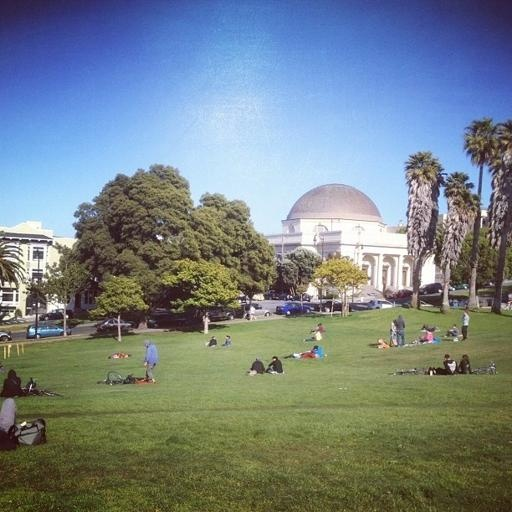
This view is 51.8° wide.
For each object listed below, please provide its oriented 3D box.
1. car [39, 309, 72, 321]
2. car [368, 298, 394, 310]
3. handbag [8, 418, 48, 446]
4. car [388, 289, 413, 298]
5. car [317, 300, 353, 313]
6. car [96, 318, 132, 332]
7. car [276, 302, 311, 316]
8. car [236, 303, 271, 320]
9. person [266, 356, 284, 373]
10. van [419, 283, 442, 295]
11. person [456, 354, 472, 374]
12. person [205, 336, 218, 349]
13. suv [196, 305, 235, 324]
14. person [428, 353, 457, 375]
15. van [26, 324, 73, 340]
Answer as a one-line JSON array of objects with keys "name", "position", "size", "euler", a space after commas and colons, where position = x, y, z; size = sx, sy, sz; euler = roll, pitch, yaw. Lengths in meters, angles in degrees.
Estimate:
[{"name": "car", "position": [-25.620, 7.408, 67.495], "size": [3.873, 1.271, 4.261], "euler": [-3, -2, -5]}, {"name": "car", "position": [16.190, 6.401, 68.050], "size": [3.448, 1.034, 1.565], "euler": [-3, 9, -28]}, {"name": "handbag", "position": [-5.625, 4.303, 12.981], "size": [0.705, 0.444, 0.637], "euler": [10, 0, -34]}, {"name": "car", "position": [24.385, 6.321, 88.513], "size": [2.828, 0.988, 1.802], "euler": [1, -4, -15]}, {"name": "car", "position": [10.411, 7.060, 70.769], "size": [3.855, 1.017, 2.188], "euler": [0, 0, -15]}, {"name": "car", "position": [-13.937, 6.756, 51.285], "size": [2.878, 0.806, 1.595], "euler": [2, -6, -9]}, {"name": "car", "position": [5.161, 6.884, 67.285], "size": [3.268, 0.856, 1.997], "euler": [-2, 4, -21]}, {"name": "car", "position": [-0.150, 6.899, 65.762], "size": [3.384, 1.415, 1.711], "euler": [-3, 4, -19]}, {"name": "person", "position": [0.967, 5.115, 24.530], "size": [0.556, 0.783, 1.080], "euler": [7, -3, -36]}, {"name": "van", "position": [28.941, 5.465, 87.765], "size": [3.254, 1.422, 1.796], "euler": [2, -6, -24]}, {"name": "person", "position": [8.903, 4.652, 22.458], "size": [0.592, 0.868, 0.348], "euler": [4, -9, 27]}, {"name": "person", "position": [-3.141, 6.225, 37.875], "size": [0.603, 0.572, 1.350], "euler": [4, -10, -27]}, {"name": "suv", "position": [-4.107, 6.453, 59.660], "size": [4.704, 1.522, 1.989], "euler": [-3, 2, -9]}, {"name": "person", "position": [7.902, 4.727, 22.672], "size": [0.759, 0.648, 1.342], "euler": [5, -13, -43]}, {"name": "van", "position": [-19.604, 7.529, 50.101], "size": [3.713, 1.078, 1.786], "euler": [-2, 3, -25]}]
